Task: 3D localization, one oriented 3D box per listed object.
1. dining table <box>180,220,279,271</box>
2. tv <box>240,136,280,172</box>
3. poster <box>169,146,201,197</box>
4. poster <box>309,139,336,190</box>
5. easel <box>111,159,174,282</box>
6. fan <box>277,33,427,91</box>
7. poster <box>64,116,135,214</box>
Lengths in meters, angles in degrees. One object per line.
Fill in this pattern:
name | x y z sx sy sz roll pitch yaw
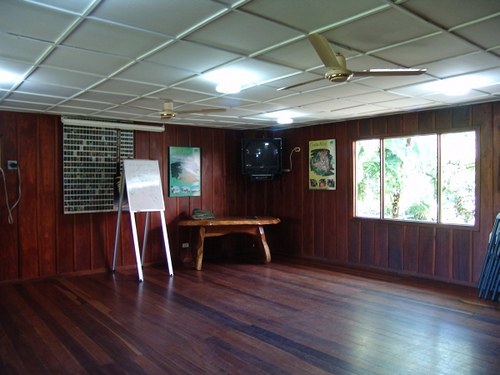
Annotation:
dining table | -0.430 1.040 6.940 1.895 0.906 0.886 -2 4 -21
tv | 0.298 -0.691 7.518 0.988 0.828 0.539 0 12 13
poster | -1.319 -0.324 7.113 0.698 1.006 0.082 -3 5 -39
poster | 1.457 -0.472 7.033 0.028 1.014 0.687 -9 10 -44
easel | -1.923 0.350 6.192 0.915 2.365 0.666 3 3 -36
fan | 0.893 -1.056 2.990 1.143 0.273 0.550 -2 4 -21
poster | -2.755 -0.393 6.133 1.223 1.539 0.114 2 5 -39
